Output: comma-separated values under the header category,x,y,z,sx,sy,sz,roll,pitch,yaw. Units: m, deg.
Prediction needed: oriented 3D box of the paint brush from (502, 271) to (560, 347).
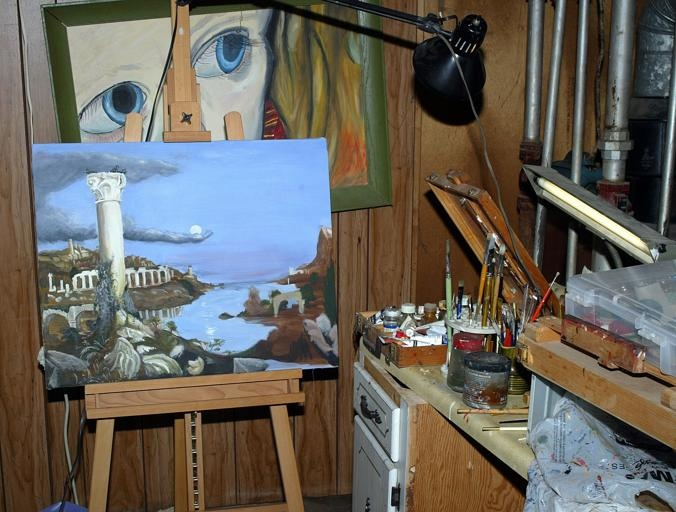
category,x,y,z,sx,sy,sz,roll,pitch,yaw
paint brush,0.540,0.152,2.047,0.034,0.215,0.024,19,1,-12

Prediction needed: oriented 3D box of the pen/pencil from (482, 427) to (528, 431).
category,x,y,z,sx,sy,sz,roll,pitch,yaw
pen/pencil,0.435,0.449,1.906,0.113,0.011,0.016,-4,7,9

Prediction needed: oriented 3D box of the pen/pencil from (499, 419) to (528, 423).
category,x,y,z,sx,sy,sz,roll,pitch,yaw
pen/pencil,0.466,0.437,1.941,0.073,0.013,0.016,0,5,-7

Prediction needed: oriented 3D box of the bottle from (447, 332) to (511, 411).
category,x,y,z,sx,sy,sz,roll,pitch,yaw
bottle,0.383,0.324,2.002,0.117,0.153,0.204,-1,7,-6
